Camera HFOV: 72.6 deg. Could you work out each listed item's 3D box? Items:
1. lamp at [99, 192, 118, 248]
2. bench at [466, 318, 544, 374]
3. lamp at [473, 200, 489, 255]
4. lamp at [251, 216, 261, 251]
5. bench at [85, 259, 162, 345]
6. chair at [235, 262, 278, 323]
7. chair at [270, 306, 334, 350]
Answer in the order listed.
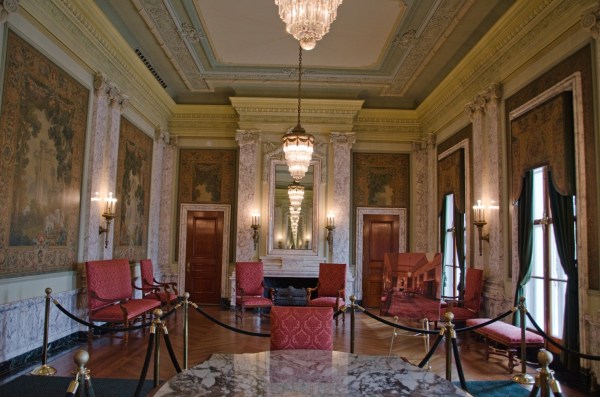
[{"bbox_3d":[-4.136,0.478,8.727,0.278,1.203,0.718,4,-8,-25],"label":"lamp"},{"bbox_3d":[3.639,2.604,7.268,0.758,0.730,1.106,2,-8,-8],"label":"bench"},{"bbox_3d":[3.880,0.614,8.726,0.272,1.203,0.475,-3,-8,25],"label":"lamp"},{"bbox_3d":[-1.206,0.912,11.087,0.263,0.984,0.190,6,-9,-31],"label":"lamp"},{"bbox_3d":[-3.552,2.078,8.062,0.707,1.112,1.576,-2,-6,-2],"label":"bench"},{"bbox_3d":[-1.191,2.283,10.117,0.931,1.374,1.366,2,-8,-5],"label":"chair"},{"bbox_3d":[0.031,1.845,5.464,0.948,0.829,0.516,0,-13,1],"label":"chair"}]
